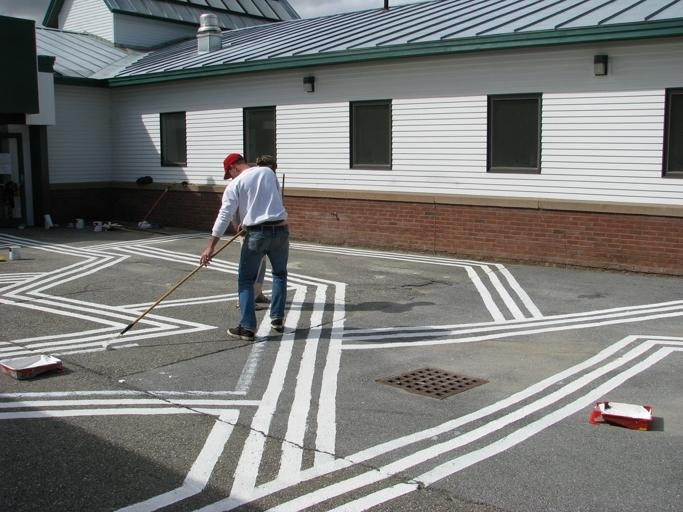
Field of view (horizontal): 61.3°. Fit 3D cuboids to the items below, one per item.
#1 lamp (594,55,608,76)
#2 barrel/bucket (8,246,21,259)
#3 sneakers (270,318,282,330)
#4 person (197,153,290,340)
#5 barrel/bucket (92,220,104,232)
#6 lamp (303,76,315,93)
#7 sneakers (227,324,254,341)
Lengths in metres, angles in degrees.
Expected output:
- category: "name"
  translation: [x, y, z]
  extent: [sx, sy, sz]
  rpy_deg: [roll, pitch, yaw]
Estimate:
- category: "lamp"
  translation: [4.950, -3.637, 11.003]
  extent: [0.261, 0.370, 0.151]
  rpy_deg: [4, 13, 18]
- category: "barrel/bucket"
  translation: [-7.021, -0.070, 12.385]
  extent: [0.212, 0.261, 0.293]
  rpy_deg: [-5, 12, -25]
- category: "sneakers"
  translation: [-0.840, 0.874, 7.411]
  extent: [0.134, 0.098, 0.155]
  rpy_deg: [0, 5, -11]
- category: "person"
  translation: [-1.133, -0.058, 7.184]
  extent: [0.910, 2.113, 0.705]
  rpy_deg: [-1, 12, -4]
- category: "barrel/bucket"
  translation: [-7.329, -0.890, 17.224]
  extent: [0.489, 0.310, 0.329]
  rpy_deg: [-1, 2, -7]
- category: "lamp"
  translation: [-0.843, -4.355, 14.610]
  extent: [0.279, 0.414, 0.259]
  rpy_deg: [5, 13, 21]
- category: "sneakers"
  translation: [-1.229, 0.929, 7.191]
  extent: [0.379, 0.137, 0.147]
  rpy_deg: [12, 14, 35]
